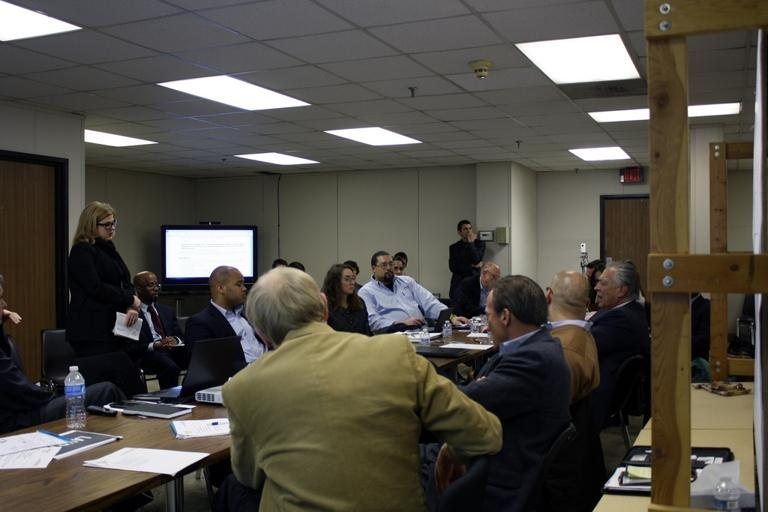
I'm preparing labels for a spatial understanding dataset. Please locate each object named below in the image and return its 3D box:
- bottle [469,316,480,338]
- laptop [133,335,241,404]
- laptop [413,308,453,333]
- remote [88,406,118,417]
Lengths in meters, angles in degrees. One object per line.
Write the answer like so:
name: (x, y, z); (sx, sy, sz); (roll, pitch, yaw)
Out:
bottle: (0.989, 0.782, 5.849); (0.105, 0.173, 0.105); (1, -8, 0)
laptop: (-1.134, 0.645, 3.024); (0.564, 0.348, 0.499); (-4, -10, 10)
laptop: (0.562, 0.652, 5.844); (0.246, 0.225, 0.367); (9, 1, 25)
remote: (-1.501, 0.827, 2.872); (0.123, 0.042, 0.066); (0, -3, -1)
